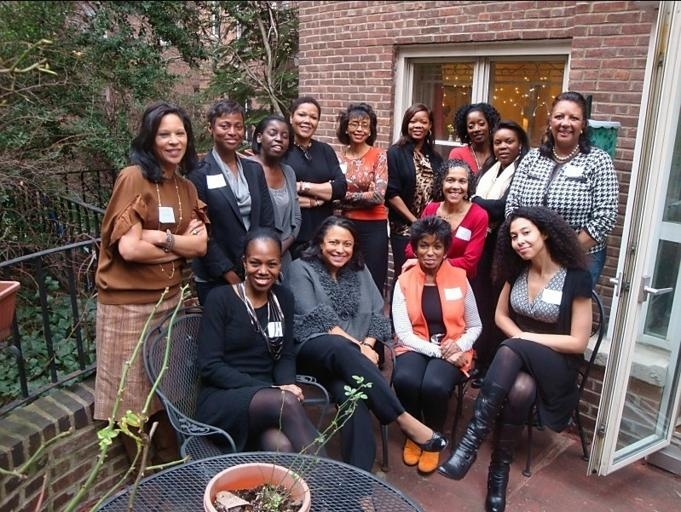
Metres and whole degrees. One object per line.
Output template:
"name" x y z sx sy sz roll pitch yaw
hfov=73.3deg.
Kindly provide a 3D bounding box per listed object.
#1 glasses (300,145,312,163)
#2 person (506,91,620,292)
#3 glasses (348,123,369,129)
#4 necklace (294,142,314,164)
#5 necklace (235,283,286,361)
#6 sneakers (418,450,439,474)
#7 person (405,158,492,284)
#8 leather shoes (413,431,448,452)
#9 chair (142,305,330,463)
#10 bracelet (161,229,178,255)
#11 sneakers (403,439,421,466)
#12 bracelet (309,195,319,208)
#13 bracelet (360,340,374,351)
"glasses" -0.292 -0.876 3.915 0.088 0.126 0.030 -36 -1 -18
"person" 1.585 -0.154 3.398 0.640 1.960 0.717 -18 22 -42
"glasses" 0.181 -1.166 4.079 0.169 0.064 0.038 -3 19 -5
"necklace" -0.306 -0.890 3.904 0.149 0.056 0.112 33 31 24
"necklace" -0.506 0.402 2.770 0.100 0.433 0.300 -19 -5 44
"sneakers" 0.577 1.356 2.970 0.079 0.088 0.210 0 -2 9
"person" 0.856 -0.252 3.749 0.634 1.013 0.600 15 29 32
"leather shoes" 0.586 1.197 2.930 0.198 0.057 0.105 8 26 30
"chair" -0.658 0.730 2.638 0.894 0.844 0.686 15 26 35
"bracelet" -0.954 -0.079 2.543 0.039 0.111 0.086 -8 -2 29
"sneakers" 0.481 1.293 3.038 0.089 0.199 0.079 0 -24 8
"bracelet" -0.207 -0.449 3.797 0.072 0.069 0.021 -7 -3 -38
"bracelet" 0.192 0.626 3.159 0.050 0.022 0.055 32 -1 -33
